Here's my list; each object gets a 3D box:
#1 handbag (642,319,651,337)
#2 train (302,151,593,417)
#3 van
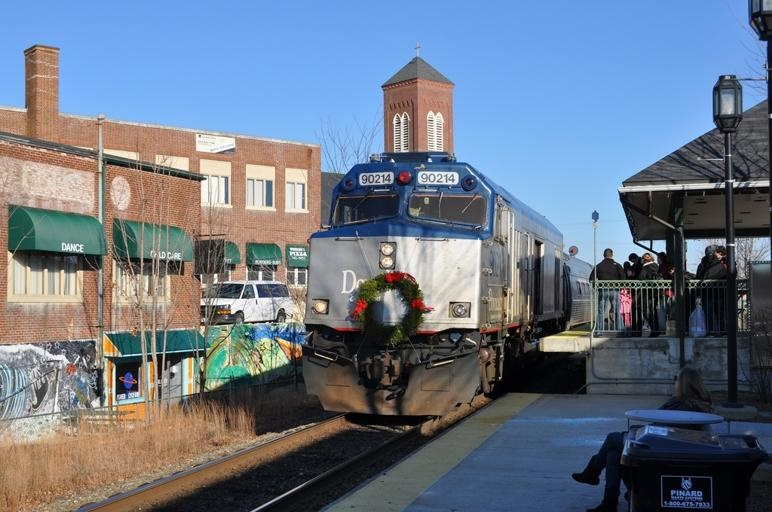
[{"bbox_3d":[6.859,1.919,22.025,0.315,0.618,0.400,-1,-1,21],"label":"handbag"},{"bbox_3d":[1.649,0.762,21.608,3.800,6.674,7.830,-4,-4,24],"label":"train"},{"bbox_3d":[-6.294,2.113,38.089,1.962,1.652,4.133,-5,-9,30],"label":"van"}]
